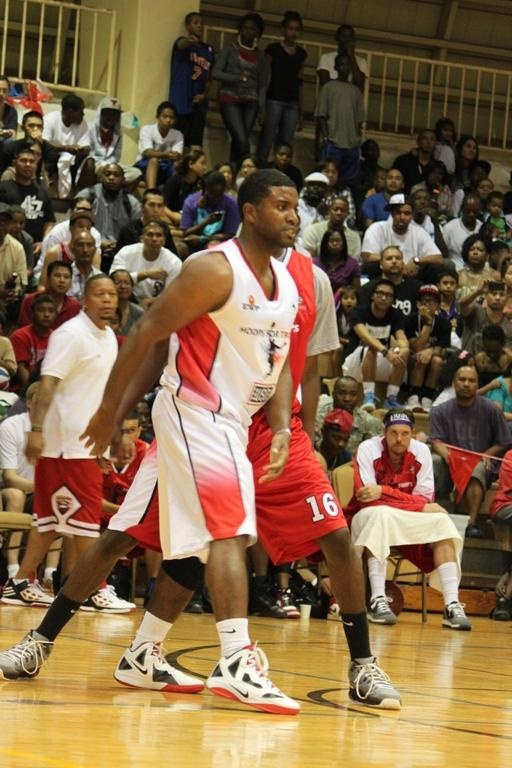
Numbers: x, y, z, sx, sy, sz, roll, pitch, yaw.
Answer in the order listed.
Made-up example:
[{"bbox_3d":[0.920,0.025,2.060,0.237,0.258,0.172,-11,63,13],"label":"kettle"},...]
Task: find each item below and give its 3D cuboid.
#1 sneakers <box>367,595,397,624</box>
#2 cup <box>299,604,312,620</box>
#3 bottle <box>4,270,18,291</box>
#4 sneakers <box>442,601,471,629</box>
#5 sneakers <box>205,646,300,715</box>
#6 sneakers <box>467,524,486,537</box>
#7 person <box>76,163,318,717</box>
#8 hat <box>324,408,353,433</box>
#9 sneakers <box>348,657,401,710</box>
[{"bbox_3d":[0.952,1.702,5.296,0.115,0.136,0.318,3,-11,-12],"label":"sneakers"},{"bbox_3d":[0.373,1.727,5.345,0.095,0.090,0.093,1,-8,0],"label":"cup"},{"bbox_3d":[-2.521,-1.072,7.278,0.121,0.113,0.290,4,-12,-36],"label":"bottle"},{"bbox_3d":[1.533,1.769,5.349,0.117,0.133,0.304,4,-11,-12],"label":"sneakers"},{"bbox_3d":[-0.011,0.751,1.757,0.174,0.150,0.216,5,2,-29],"label":"sneakers"},{"bbox_3d":[2.110,1.419,6.801,0.100,0.083,0.200,2,-13,-12],"label":"sneakers"},{"bbox_3d":[-0.095,0.079,1.892,0.609,1.114,0.421,7,2,5],"label":"person"},{"bbox_3d":[0.771,0.315,6.477,0.249,0.157,0.169,22,21,6],"label":"hat"},{"bbox_3d":[0.346,0.887,2.107,0.093,0.120,0.272,7,-14,-14],"label":"sneakers"}]
